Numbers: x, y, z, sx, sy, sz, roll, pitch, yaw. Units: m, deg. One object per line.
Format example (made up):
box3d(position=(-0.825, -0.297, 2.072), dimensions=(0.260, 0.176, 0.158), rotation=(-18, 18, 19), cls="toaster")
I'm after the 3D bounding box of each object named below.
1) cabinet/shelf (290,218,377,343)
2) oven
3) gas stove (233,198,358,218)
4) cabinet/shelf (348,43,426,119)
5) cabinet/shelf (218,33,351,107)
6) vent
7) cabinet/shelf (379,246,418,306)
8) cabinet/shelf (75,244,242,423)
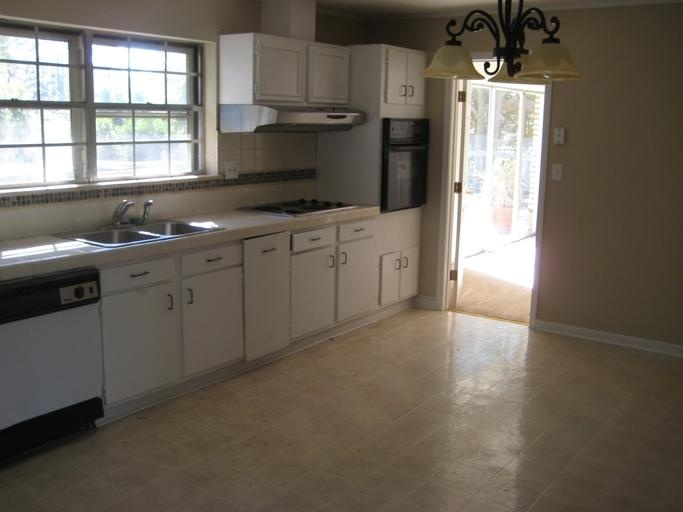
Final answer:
box3d(position=(-0.099, 0.205, 4.400), dimensions=(0.376, 0.852, 0.925), rotation=(3, 9, 36), cls="cabinet/shelf")
box3d(position=(0.500, -0.891, 5.064), dimensions=(0.546, 0.827, 0.523), rotation=(-10, 17, -35), cls="oven")
box3d(position=(-0.342, -0.441, 4.564), dimensions=(0.732, 0.051, 0.998), rotation=(10, 16, 35), cls="gas stove")
box3d(position=(0.462, -1.619, 5.010), dimensions=(0.447, 0.718, 0.809), rotation=(12, 18, 37), cls="cabinet/shelf")
box3d(position=(-0.435, -1.557, 4.431), dimensions=(0.384, 0.552, 1.140), rotation=(15, 21, 39), cls="cabinet/shelf")
box3d(position=(-0.396, -1.146, 4.358), dimensions=(1.198, 0.246, 0.567), rotation=(-9, 16, -37), cls="vent")
box3d(position=(0.547, 0.188, 5.135), dimensions=(0.263, 0.496, 0.533), rotation=(2, 8, 33), cls="cabinet/shelf")
box3d(position=(-1.220, 0.384, 3.517), dimensions=(0.499, 0.941, 1.074), rotation=(12, 15, 38), cls="cabinet/shelf")
